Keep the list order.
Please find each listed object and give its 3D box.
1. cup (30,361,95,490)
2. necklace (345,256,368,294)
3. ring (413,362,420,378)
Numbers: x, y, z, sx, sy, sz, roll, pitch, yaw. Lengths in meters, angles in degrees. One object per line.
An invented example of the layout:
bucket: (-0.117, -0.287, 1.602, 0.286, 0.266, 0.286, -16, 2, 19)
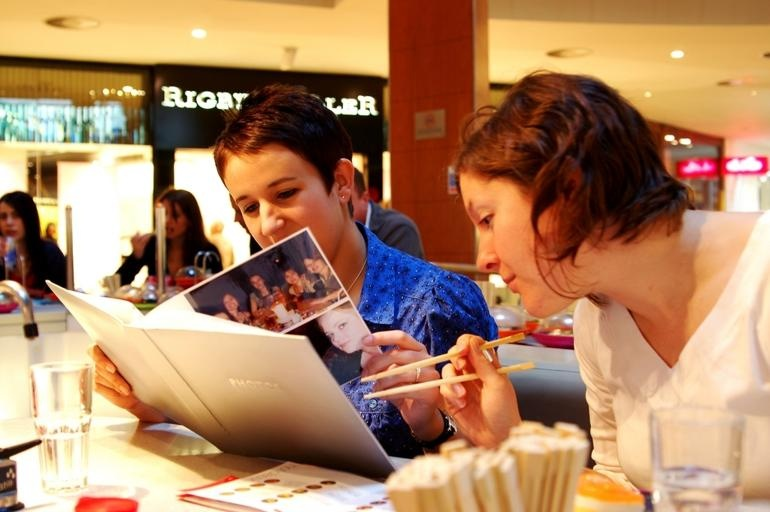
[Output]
cup: (-0.695, 0.363, 1.418, 0.122, 0.250, 0.132, -3, 9, 0)
necklace: (-0.086, 0.060, 1.975, 0.038, 0.101, 0.075, 23, 3, -26)
ring: (0.077, 0.276, 1.625, 0.017, 0.043, 0.033, 9, 31, 2)
